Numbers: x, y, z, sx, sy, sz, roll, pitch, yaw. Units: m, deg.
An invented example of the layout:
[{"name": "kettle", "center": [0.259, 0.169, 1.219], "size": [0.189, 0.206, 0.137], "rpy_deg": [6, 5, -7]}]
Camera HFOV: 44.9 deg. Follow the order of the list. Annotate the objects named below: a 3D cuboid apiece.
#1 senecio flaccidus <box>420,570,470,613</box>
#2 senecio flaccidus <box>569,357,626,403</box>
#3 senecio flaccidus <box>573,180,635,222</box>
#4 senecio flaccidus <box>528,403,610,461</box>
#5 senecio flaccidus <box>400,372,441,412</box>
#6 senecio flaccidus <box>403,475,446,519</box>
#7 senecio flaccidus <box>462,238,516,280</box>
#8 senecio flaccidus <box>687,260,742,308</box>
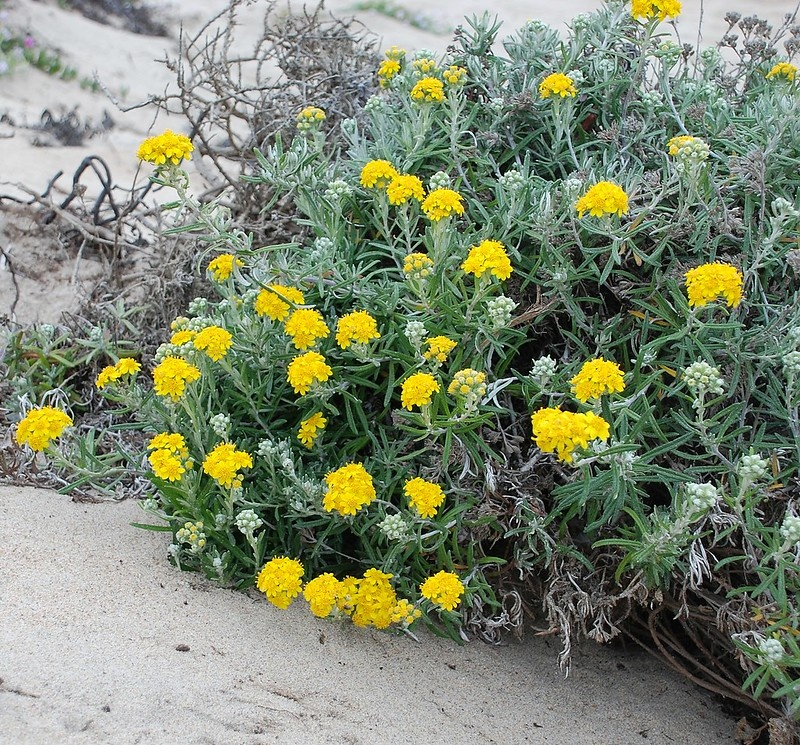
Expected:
[{"name": "senecio flaccidus", "center": [0.163, 0.737, 3.274], "size": [0.157, 0.137, 0.049], "rpy_deg": [21, 2, 11]}, {"name": "senecio flaccidus", "center": [0.614, 0.034, 3.025], "size": [0.133, 0.143, 0.097], "rpy_deg": [15, 19, -14]}, {"name": "senecio flaccidus", "center": [0.695, -0.586, 3.336], "size": [0.165, 0.098, 0.149], "rpy_deg": [1, 21, 7]}, {"name": "senecio flaccidus", "center": [0.520, 0.198, 2.989], "size": [0.182, 0.129, 0.173], "rpy_deg": [-34, 57, -13]}, {"name": "senecio flaccidus", "center": [0.062, 0.063, 3.243], "size": [0.124, 0.119, 0.122], "rpy_deg": [36, 3, 9]}, {"name": "senecio flaccidus", "center": [0.076, 0.414, 3.249], "size": [0.149, 0.048, 0.140], "rpy_deg": [-32, 72, -14]}, {"name": "senecio flaccidus", "center": [0.298, -0.372, 3.351], "size": [0.161, 0.125, 0.142], "rpy_deg": [3, 32, 0]}, {"name": "senecio flaccidus", "center": [1.020, -0.285, 3.165], "size": [0.185, 0.104, 0.164], "rpy_deg": [7, 47, 18]}]
